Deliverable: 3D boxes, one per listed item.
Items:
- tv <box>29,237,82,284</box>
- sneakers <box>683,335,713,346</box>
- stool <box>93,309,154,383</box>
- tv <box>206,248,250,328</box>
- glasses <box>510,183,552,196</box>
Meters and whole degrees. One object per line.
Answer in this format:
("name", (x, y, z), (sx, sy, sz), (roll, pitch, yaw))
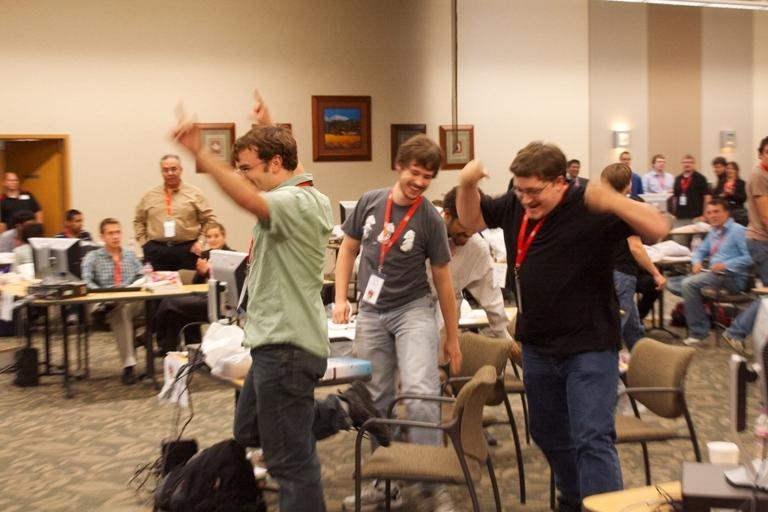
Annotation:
("tv", (-3.358, 0.046, 5.734), (0.504, 0.411, 0.152), (1, 8, 3))
("sneakers", (3.751, 1.032, 6.731), (0.355, 0.144, 0.164), (7, -2, -11))
("stool", (-2.825, 1.007, 6.171), (0.568, 1.009, 0.369), (-11, -15, 2))
("tv", (-1.151, 0.254, 4.086), (0.424, 0.552, 0.273), (7, 11, 36))
("glasses", (0.784, -0.345, 2.884), (0.209, 0.062, 0.210), (1, 0, 31))
